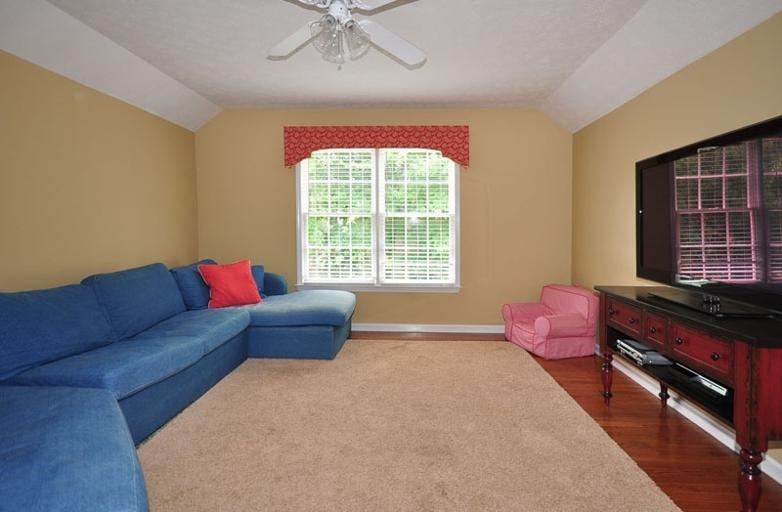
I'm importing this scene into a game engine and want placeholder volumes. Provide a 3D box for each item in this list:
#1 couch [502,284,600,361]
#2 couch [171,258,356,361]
[{"bbox_3d":[1.795,0.704,5.846,0.737,0.667,0.917,-2,6,-18],"label":"couch"},{"bbox_3d":[-1.249,0.639,5.638,1.316,0.768,1.269,1,3,1],"label":"couch"}]
